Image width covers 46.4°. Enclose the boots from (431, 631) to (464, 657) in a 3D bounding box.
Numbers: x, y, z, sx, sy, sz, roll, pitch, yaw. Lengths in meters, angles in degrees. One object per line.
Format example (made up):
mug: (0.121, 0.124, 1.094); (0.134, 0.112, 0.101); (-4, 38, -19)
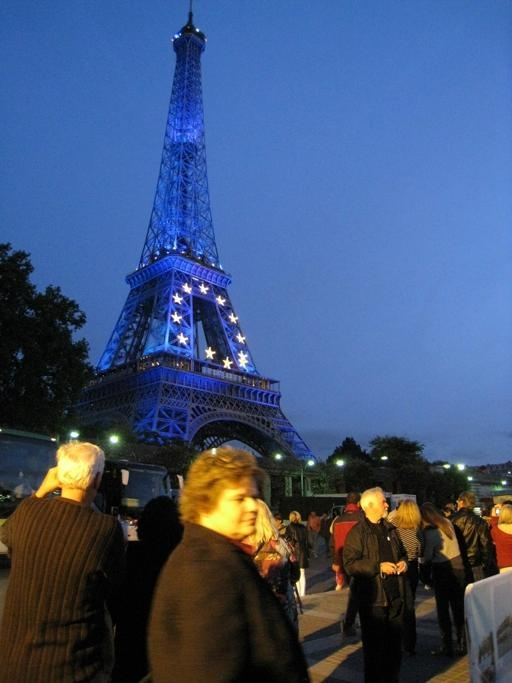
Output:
boots: (2.166, 3.414, 6.718); (0.365, 0.178, 0.624); (-7, -19, 13)
